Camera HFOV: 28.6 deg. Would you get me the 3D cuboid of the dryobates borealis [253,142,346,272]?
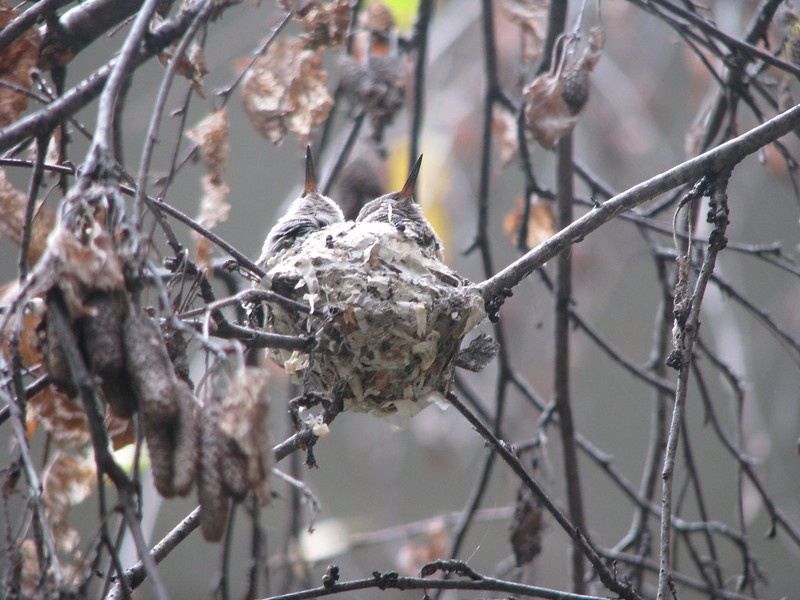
[{"bbox_3d":[-0.374,-0.319,6.113,0.193,0.261,0.710,13,66,2],"label":"dryobates borealis"}]
